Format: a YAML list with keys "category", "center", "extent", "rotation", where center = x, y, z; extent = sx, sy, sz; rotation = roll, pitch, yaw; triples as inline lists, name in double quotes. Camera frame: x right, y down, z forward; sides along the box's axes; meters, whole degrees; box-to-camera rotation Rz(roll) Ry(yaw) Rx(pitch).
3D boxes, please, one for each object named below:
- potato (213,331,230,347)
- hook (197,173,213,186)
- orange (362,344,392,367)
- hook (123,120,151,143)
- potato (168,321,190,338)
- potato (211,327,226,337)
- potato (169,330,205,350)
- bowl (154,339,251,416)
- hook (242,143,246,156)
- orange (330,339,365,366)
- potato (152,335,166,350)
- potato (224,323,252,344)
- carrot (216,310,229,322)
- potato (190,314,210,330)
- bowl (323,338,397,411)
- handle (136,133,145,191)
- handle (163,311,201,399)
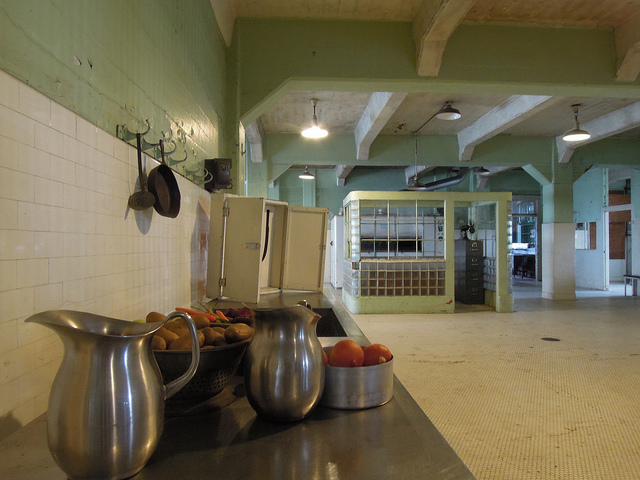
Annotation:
- category: "potato"
  center: [-0.307, 0.307, 1.413]
  extent: [0.017, 0.033, 0.032]
  rotation: [-24, 19, -22]
- category: "hook"
  center: [-0.789, -0.412, 3.101]
  extent: [0.064, 0.115, 0.083]
  rotation: [-7, 8, -13]
- category: "orange"
  center: [0.178, 0.365, 1.471]
  extent: [0.067, 0.066, 0.068]
  rotation: [-27, 6, -39]
- category: "hook"
  center: [-0.785, -0.449, 1.929]
  extent: [0.086, 0.050, 0.049]
  rotation: [-1, 11, 31]
- category: "potato"
  center: [-0.438, 0.281, 1.446]
  extent: [0.042, 0.018, 0.043]
  rotation: [21, 23, 33]
- category: "potato"
  center: [-0.333, 0.304, 1.505]
  extent: [0.026, 0.019, 0.033]
  rotation: [2, -2, -1]
- category: "potato"
  center: [-0.391, 0.296, 1.334]
  extent: [0.080, 0.027, 0.079]
  rotation: [-8, 2, -34]
- category: "bowl"
  center: [-0.355, 0.411, 1.378]
  extent: [0.176, 0.194, 0.247]
  rotation: [1, 2, 33]
- category: "hook"
  center: [-0.691, -0.780, 4.096]
  extent: [0.035, 0.100, 0.011]
  rotation: [-6, 13, -19]
- category: "orange"
  center: [0.083, 0.353, 1.410]
  extent: [0.076, 0.079, 0.077]
  rotation: [-18, 12, 12]
- category: "potato"
  center: [-0.487, 0.300, 1.378]
  extent: [0.026, 0.031, 0.053]
  rotation: [-11, 36, -26]
- category: "potato"
  center: [-0.262, 0.294, 1.468]
  extent: [0.053, 0.038, 0.070]
  rotation: [3, -1, 5]
- category: "carrot"
  center: [-0.380, 0.295, 1.769]
  extent: [0.013, 0.050, 0.025]
  rotation: [-36, -21, 8]
- category: "potato"
  center: [-0.395, 0.271, 1.508]
  extent: [0.029, 0.030, 0.062]
  rotation: [6, -1, -41]
- category: "bowl"
  center: [0.122, 0.411, 1.388]
  extent: [0.191, 0.139, 0.197]
  rotation: [-2, -3, 0]
- category: "handle"
  center: [-0.774, -0.332, 1.970]
  extent: [0.032, 0.244, 0.034]
  rotation: [3, -1, -34]
- category: "handle"
  center: [-0.345, 0.306, 1.218]
  extent: [0.082, 0.208, 0.132]
  rotation: [5, 2, -11]
